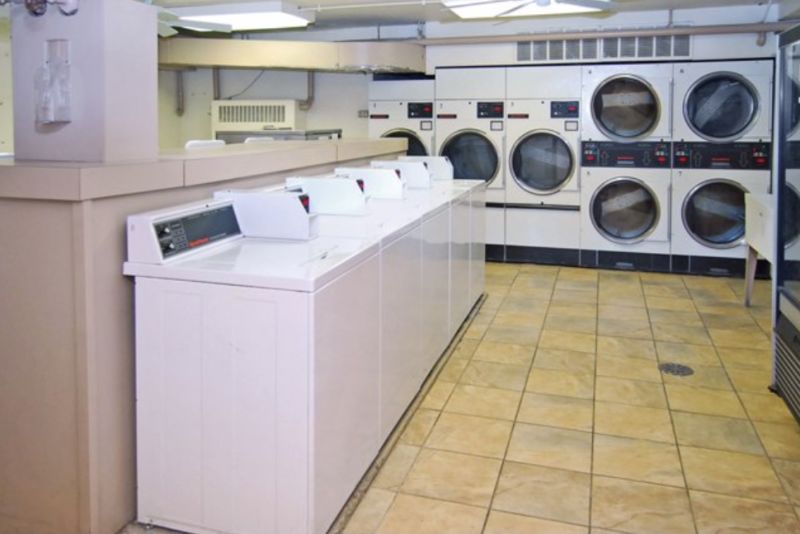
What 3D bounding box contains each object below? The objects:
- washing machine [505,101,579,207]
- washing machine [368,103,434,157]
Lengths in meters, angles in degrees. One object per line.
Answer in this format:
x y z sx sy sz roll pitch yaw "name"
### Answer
1.660 -1.349 7.147 1.191 1.658 1.118 1 3 15 "washing machine"
0.110 -1.642 7.410 0.896 0.892 0.682 0 1 16 "washing machine"
